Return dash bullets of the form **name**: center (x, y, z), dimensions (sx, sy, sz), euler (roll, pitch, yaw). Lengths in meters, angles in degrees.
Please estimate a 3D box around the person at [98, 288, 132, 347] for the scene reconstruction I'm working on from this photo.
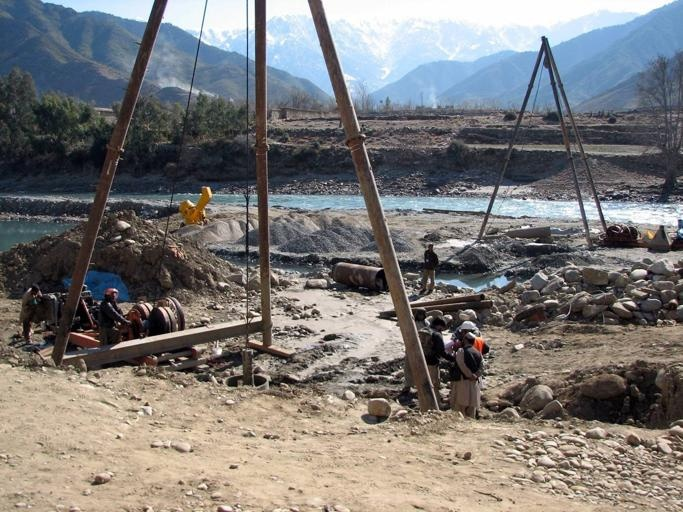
- **person**: center (-4.429, 1.213, 13.261), dimensions (0.569, 1.132, 0.815), euler (0, 11, -17)

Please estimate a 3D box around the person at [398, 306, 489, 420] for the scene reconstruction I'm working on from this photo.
- **person**: center (2.039, 1.919, 12.064), dimensions (1.025, 1.566, 1.456), euler (-3, 12, -30)

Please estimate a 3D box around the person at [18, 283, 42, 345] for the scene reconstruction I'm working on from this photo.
- **person**: center (-6.683, 1.231, 14.607), dimensions (0.412, 1.236, 0.646), euler (-4, 13, -37)

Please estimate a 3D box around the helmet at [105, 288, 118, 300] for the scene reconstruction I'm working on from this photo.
- **helmet**: center (-4.493, 0.765, 13.282), dimensions (0.210, 0.258, 0.404), euler (1, 10, -12)
